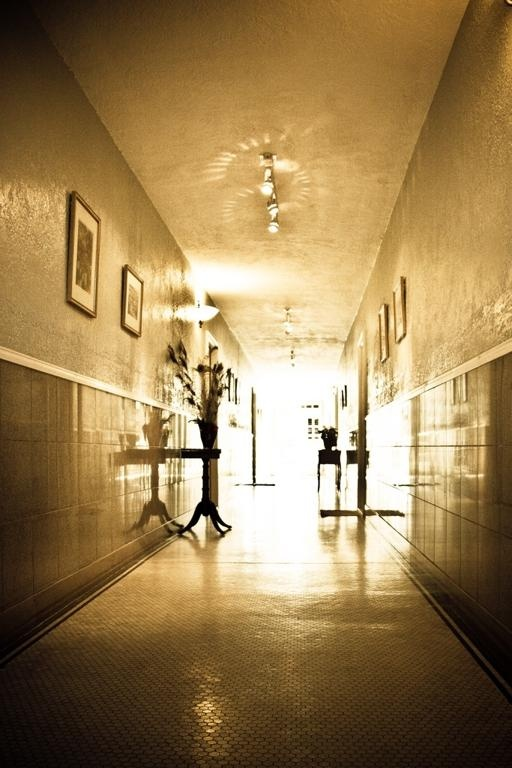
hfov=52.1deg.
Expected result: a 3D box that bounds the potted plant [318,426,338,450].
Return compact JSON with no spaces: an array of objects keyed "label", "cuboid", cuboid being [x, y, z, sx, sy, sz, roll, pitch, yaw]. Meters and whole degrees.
[{"label":"potted plant","cuboid":[1.390,1.029,10.022,0.252,0.590,0.107,1,-1,-20]}]
